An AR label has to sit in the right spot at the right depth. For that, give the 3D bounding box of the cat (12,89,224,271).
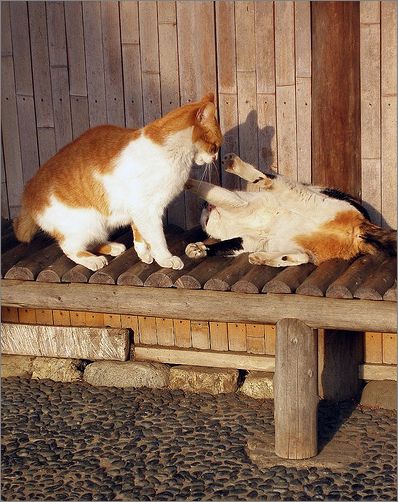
[{"bbox_3d":[-0.477,-0.456,5.078,1.507,0.991,0.554,3,11,7],"label":"cat"}]
